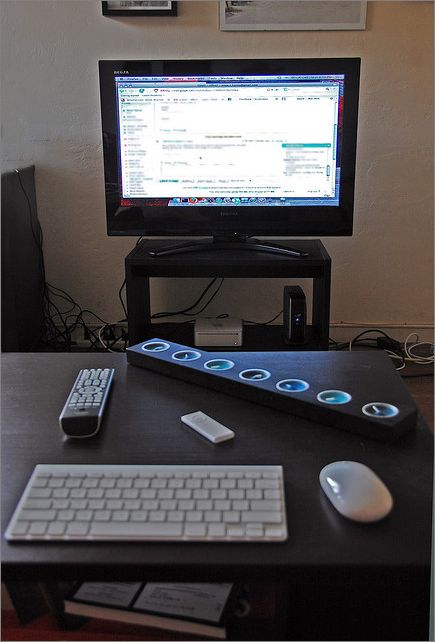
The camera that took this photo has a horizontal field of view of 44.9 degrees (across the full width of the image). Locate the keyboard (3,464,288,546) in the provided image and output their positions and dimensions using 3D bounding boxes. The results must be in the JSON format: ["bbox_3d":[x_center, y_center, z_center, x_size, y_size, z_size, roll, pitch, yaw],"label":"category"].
[{"bbox_3d":[-0.069,0.184,0.538,0.274,0.037,0.119,-5,9,4],"label":"keyboard"}]

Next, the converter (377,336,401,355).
[{"bbox_3d":[0.821,0.106,2.489,0.069,0.099,0.052,-20,35,56],"label":"converter"}]

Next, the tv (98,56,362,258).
[{"bbox_3d":[0.051,-0.682,2.130,0.845,0.619,0.185,0,23,1],"label":"tv"}]
